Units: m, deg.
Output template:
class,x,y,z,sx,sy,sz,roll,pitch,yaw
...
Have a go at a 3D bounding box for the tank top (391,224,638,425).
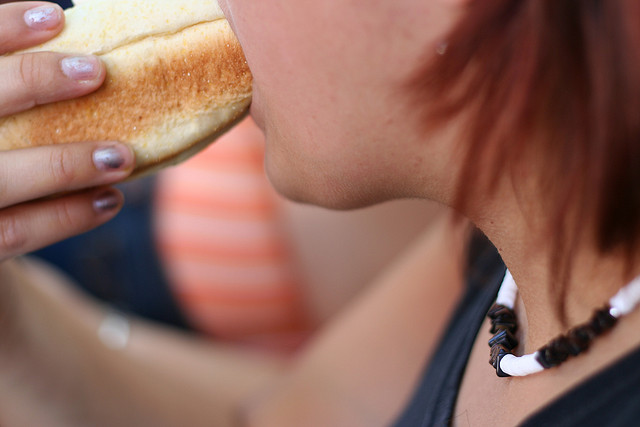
class,x,y,z,sx,sy,sz,roll,pitch,yaw
tank top,0.180,0.154,0.568,0.158,0.056,0.229,34,92,49
